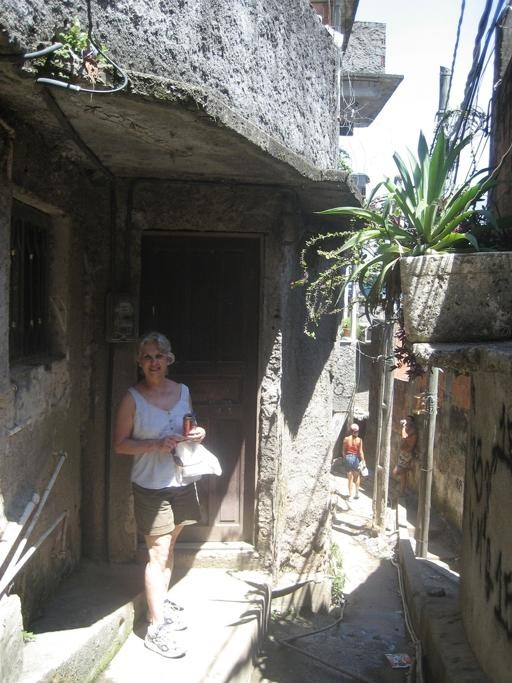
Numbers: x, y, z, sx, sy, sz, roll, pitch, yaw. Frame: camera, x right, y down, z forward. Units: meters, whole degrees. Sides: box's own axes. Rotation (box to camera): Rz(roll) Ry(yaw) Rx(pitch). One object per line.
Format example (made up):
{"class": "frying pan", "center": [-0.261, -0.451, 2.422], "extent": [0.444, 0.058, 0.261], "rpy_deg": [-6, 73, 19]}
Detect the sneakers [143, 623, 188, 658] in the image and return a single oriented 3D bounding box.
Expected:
{"class": "sneakers", "center": [-0.475, 1.560, 3.073], "extent": [0.247, 0.128, 0.106], "rpy_deg": [-2, 0, 32]}

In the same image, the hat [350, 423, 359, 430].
{"class": "hat", "center": [1.968, 1.703, 11.503], "extent": [0.119, 0.166, 0.167], "rpy_deg": [2, 16, 0]}

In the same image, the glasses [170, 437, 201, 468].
{"class": "glasses", "center": [-0.372, 0.562, 3.022], "extent": [0.133, 0.169, 0.118], "rpy_deg": [4, -20, 4]}

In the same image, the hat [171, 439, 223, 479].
{"class": "hat", "center": [-0.338, 0.641, 3.104], "extent": [0.229, 0.248, 0.101], "rpy_deg": [-17, 16, -37]}

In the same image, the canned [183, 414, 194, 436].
{"class": "canned", "center": [-0.350, 0.430, 3.011], "extent": [0.034, 0.098, 0.066], "rpy_deg": [4, 2, -20]}

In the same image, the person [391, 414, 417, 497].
{"class": "person", "center": [2.901, 2.258, 11.297], "extent": [0.392, 1.397, 2.249], "rpy_deg": [12, -4, 17]}
